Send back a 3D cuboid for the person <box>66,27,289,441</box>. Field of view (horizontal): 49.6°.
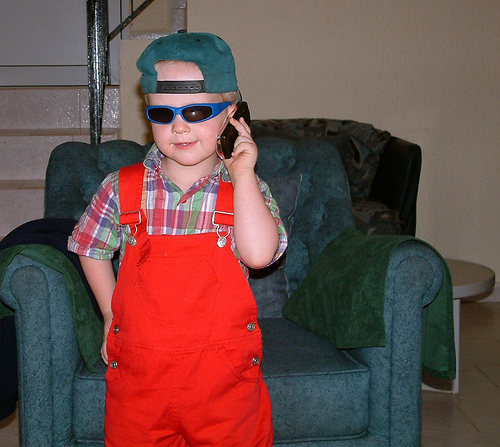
[{"bbox_3d":[-0.174,0.090,1.432,0.552,1.193,0.416,-4,13,-21],"label":"person"}]

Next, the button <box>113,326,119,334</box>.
[{"bbox_3d":[-0.344,0.274,1.390,0.011,0.018,0.006,-1,0,23],"label":"button"}]

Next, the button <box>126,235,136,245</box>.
[{"bbox_3d":[-0.306,0.042,1.390,0.019,0.022,0.006,0,-4,29],"label":"button"}]

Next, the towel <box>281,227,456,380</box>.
[{"bbox_3d":[0.448,0.207,1.838,0.464,0.543,0.507,-9,18,-42],"label":"towel"}]

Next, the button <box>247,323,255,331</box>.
[{"bbox_3d":[0.002,0.266,1.389,0.015,0.018,0.004,3,-4,-29],"label":"button"}]

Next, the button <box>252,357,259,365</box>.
[{"bbox_3d":[0.016,0.357,1.398,0.015,0.017,0.006,0,2,-29],"label":"button"}]
